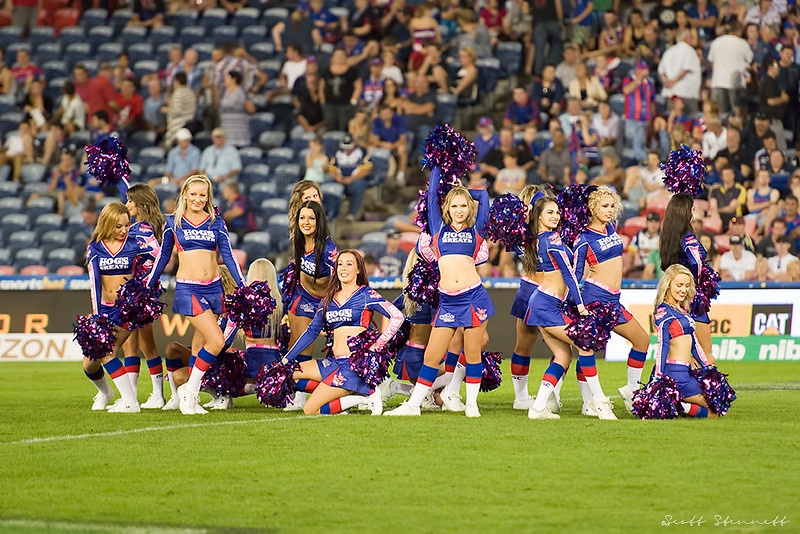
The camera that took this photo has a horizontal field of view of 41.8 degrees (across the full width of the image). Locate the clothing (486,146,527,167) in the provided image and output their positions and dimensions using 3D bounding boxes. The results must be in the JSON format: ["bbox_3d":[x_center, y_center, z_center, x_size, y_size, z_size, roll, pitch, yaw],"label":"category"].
[{"bbox_3d":[1.889,-1.919,18.705,0.873,0.360,0.446,2,15,6],"label":"clothing"}]

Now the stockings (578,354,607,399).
[{"bbox_3d":[2.150,1.222,11.807,0.315,0.547,0.250,2,14,9],"label":"stockings"}]

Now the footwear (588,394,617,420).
[{"bbox_3d":[2.273,1.564,11.757,0.149,0.165,0.383,-11,27,-33],"label":"footwear"}]

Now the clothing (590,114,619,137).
[{"bbox_3d":[3.800,-2.605,19.575,0.675,0.600,0.366,2,7,16],"label":"clothing"}]

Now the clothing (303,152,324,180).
[{"bbox_3d":[-1.586,-1.831,19.452,0.451,0.467,0.541,1,15,6],"label":"clothing"}]

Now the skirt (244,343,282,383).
[{"bbox_3d":[-1.675,1.089,12.672,0.592,0.593,0.339,0,0,3],"label":"skirt"}]

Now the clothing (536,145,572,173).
[{"bbox_3d":[2.802,-1.895,18.826,0.657,0.567,0.366,-1,-12,5],"label":"clothing"}]

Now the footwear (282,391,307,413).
[{"bbox_3d":[-1.178,1.586,12.387,0.126,0.267,0.373,8,1,29],"label":"footwear"}]

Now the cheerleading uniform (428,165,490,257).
[{"bbox_3d":[0.663,-0.587,11.993,0.719,1.027,0.636,0,14,2],"label":"cheerleading uniform"}]

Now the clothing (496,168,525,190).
[{"bbox_3d":[1.921,-1.519,18.408,0.548,0.387,0.512,1,15,6],"label":"clothing"}]

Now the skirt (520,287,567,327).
[{"bbox_3d":[1.654,0.478,11.890,0.359,0.308,0.527,-2,1,-11],"label":"skirt"}]

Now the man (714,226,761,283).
[{"bbox_3d":[5.406,-0.219,17.139,0.818,1.277,0.702,-2,-8,17],"label":"man"}]

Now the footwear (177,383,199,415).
[{"bbox_3d":[-2.449,1.559,12.097,0.186,0.436,0.155,-26,-15,23],"label":"footwear"}]

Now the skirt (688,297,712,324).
[{"bbox_3d":[3.480,0.512,12.267,0.117,0.306,0.312,-4,42,36],"label":"skirt"}]

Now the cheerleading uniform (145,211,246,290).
[{"bbox_3d":[-2.537,-0.170,12.763,1.197,1.055,0.396,0,2,-15],"label":"cheerleading uniform"}]

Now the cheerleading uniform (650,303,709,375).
[{"bbox_3d":[3.179,0.813,11.881,0.283,0.663,0.725,-17,-8,42],"label":"cheerleading uniform"}]

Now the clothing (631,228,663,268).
[{"bbox_3d":[3.938,-0.283,16.776,0.539,0.628,0.223,-3,-11,42],"label":"clothing"}]

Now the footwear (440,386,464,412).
[{"bbox_3d":[0.600,1.559,12.327,0.304,0.299,0.252,4,15,15],"label":"footwear"}]

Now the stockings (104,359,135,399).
[{"bbox_3d":[-3.289,1.310,12.354,0.359,0.496,0.256,-1,14,-3],"label":"stockings"}]

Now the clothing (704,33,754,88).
[{"bbox_3d":[6.153,-3.828,19.791,1.088,1.397,0.811,4,17,20],"label":"clothing"}]

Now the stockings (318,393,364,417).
[{"bbox_3d":[-0.688,1.514,12.029,0.352,0.158,0.270,-27,-6,5],"label":"stockings"}]

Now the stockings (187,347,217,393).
[{"bbox_3d":[-2.288,1.193,12.175,0.195,0.459,0.454,32,12,-35],"label":"stockings"}]

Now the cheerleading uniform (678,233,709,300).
[{"bbox_3d":[3.429,-0.076,12.245,0.344,0.621,0.258,-3,14,-9],"label":"cheerleading uniform"}]

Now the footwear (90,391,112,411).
[{"bbox_3d":[-3.569,1.582,12.605,0.112,0.143,0.355,-1,31,29],"label":"footwear"}]

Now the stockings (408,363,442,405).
[{"bbox_3d":[0.253,1.321,11.795,0.325,0.510,0.130,0,14,1],"label":"stockings"}]

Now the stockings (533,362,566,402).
[{"bbox_3d":[1.688,1.260,11.775,0.165,0.393,0.373,11,18,37],"label":"stockings"}]

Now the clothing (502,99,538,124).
[{"bbox_3d":[2.289,-2.883,20.046,0.736,0.677,0.426,-1,6,7],"label":"clothing"}]

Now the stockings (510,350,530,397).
[{"bbox_3d":[1.417,1.243,12.480,0.192,0.467,0.193,1,14,3],"label":"stockings"}]

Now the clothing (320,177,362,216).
[{"bbox_3d":[-1.093,-1.242,19.146,0.994,0.693,0.471,-14,20,-41],"label":"clothing"}]

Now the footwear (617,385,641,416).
[{"bbox_3d":[2.626,1.499,12.085,0.164,0.382,0.126,-23,10,4],"label":"footwear"}]

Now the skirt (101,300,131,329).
[{"bbox_3d":[-3.347,0.560,12.336,0.240,0.341,0.124,-44,-13,12],"label":"skirt"}]

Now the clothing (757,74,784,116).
[{"bbox_3d":[6.795,-3.135,19.260,0.410,0.823,0.705,-3,6,-1],"label":"clothing"}]
